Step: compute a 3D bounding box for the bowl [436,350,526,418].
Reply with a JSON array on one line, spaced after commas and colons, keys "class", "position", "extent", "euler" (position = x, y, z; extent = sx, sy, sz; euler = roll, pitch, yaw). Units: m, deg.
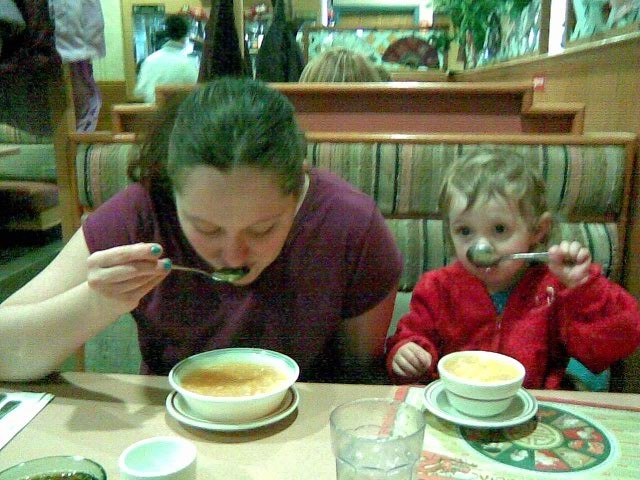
[{"class": "bowl", "position": [0.328, 0.301, 1.056], "extent": [0.170, 0.072, 0.155], "euler": [0, 13, 0]}]

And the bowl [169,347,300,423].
[{"class": "bowl", "position": [-0.176, 0.285, 1.037], "extent": [0.192, 0.035, 0.163], "euler": [-4, 14, -23]}]
